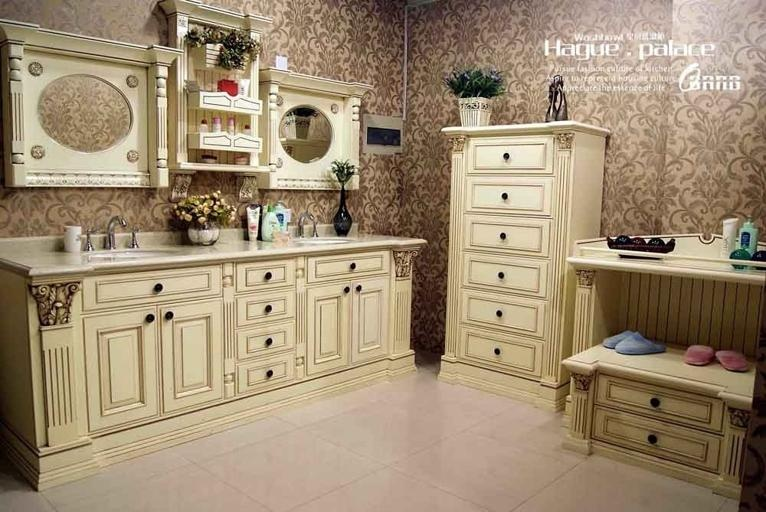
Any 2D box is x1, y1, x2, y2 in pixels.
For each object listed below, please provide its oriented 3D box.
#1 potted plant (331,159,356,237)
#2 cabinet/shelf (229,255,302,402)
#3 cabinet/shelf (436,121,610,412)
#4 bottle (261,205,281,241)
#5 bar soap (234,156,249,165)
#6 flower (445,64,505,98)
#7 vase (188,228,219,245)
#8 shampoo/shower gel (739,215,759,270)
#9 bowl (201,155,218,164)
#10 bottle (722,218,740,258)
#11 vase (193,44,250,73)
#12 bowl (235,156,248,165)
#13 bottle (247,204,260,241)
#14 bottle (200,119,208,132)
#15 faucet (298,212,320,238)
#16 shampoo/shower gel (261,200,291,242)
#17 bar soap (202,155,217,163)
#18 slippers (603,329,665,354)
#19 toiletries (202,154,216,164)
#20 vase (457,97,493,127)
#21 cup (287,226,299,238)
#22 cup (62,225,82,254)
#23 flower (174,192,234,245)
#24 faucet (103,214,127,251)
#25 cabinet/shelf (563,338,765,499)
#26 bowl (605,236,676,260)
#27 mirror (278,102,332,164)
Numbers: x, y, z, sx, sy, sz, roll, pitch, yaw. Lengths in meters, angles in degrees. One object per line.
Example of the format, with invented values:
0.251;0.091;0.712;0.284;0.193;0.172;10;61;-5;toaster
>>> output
-0.355;-0.512;4.433;0.218;0.657;0.276;1;12;0;potted plant
-0.954;0.464;3.747;0.601;1.031;0.535;-3;11;-26;cabinet/shelf
0.988;0.037;4.004;1.097;2.139;0.422;9;15;33;cabinet/shelf
-0.902;-0.258;3.974;0.143;0.266;0.181;-2;12;-14;bottle
-1.083;-0.718;3.821;0.074;0.046;0.076;0;2;11;bar soap
0.806;-1.498;4.323;0.495;0.319;0.495;5;13;18;flower
-1.289;-0.156;3.588;0.145;0.103;0.140;5;9;29;vase
2.314;-0.111;3.178;0.106;0.234;0.212;10;15;35;shampoo/shower gel
-1.282;-0.710;3.694;0.084;0.059;0.083;0;6;0;bowl
2.291;-0.129;3.286;0.220;0.230;0.084;-9;15;-39;bottle
-1.180;-1.439;3.648;0.407;0.174;0.171;-4;13;-22;vase
-1.078;-0.716;3.816;0.071;0.051;0.073;0;2;0;bowl
-1.029;-0.265;3.946;0.094;0.266;0.154;0;12;-3;bottle
-1.299;-0.944;3.624;0.053;0.093;0.109;-2;12;-12;bottle
-0.651;-0.272;4.334;0.182;0.216;0.216;-1;12;-10;faucet
-0.874;-0.276;4.016;0.149;0.432;0.314;4;6;37;shampoo/shower gel
-1.281;-0.709;3.698;0.078;0.049;0.078;-3;6;-26;bar soap
1.722;0.599;3.431;0.243;0.076;0.179;1;-1;-23;slippers
-1.282;-0.711;3.692;0.084;0.060;0.085;8;10;43;toiletries
0.768;-1.153;4.212;0.239;0.278;0.280;3;8;34;vase
-0.747;-0.201;4.213;0.143;0.102;0.079;1;2;35;cup
-1.990;-0.107;3.205;0.096;0.162;0.082;-7;14;-32;cup
-1.348;-0.269;3.679;0.384;0.367;0.426;2;4;-22;flower
-1.839;-0.166;3.416;0.113;0.223;0.139;-1;12;-9;faucet
1.848;0.992;3.329;0.995;0.636;0.760;6;13;37;cabinet/shelf
1.794;-0.066;3.504;0.396;0.142;0.468;9;14;31;bowl
-0.675;-1.027;4.263;0.513;0.533;0.023;-2;24;12;mirror
